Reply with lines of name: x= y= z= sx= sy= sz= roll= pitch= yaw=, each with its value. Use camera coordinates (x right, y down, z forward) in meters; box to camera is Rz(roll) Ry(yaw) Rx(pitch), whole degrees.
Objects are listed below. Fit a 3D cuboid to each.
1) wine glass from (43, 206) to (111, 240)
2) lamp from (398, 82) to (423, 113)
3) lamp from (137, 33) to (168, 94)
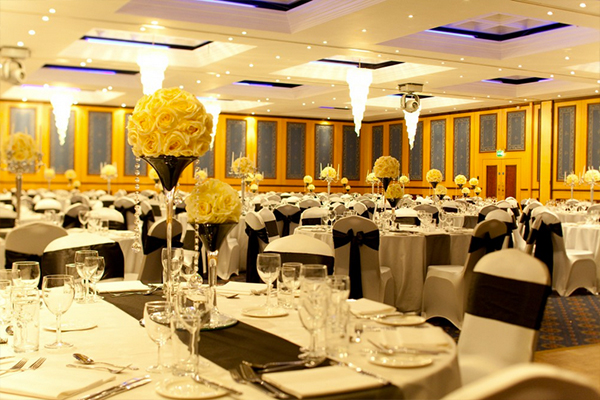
wine glass: x=-2.402 y=0.248 z=4.823 sx=0.294 sy=0.396 sz=0.321 roll=0 pitch=-12 yaw=-11
lamp: x=3.089 y=-2.873 z=12.490 sx=0.672 sy=0.889 sz=1.340 roll=3 pitch=4 yaw=14
lamp: x=-3.335 y=-3.032 z=10.141 sx=0.717 sy=1.444 sz=1.823 roll=0 pitch=5 yaw=-18
